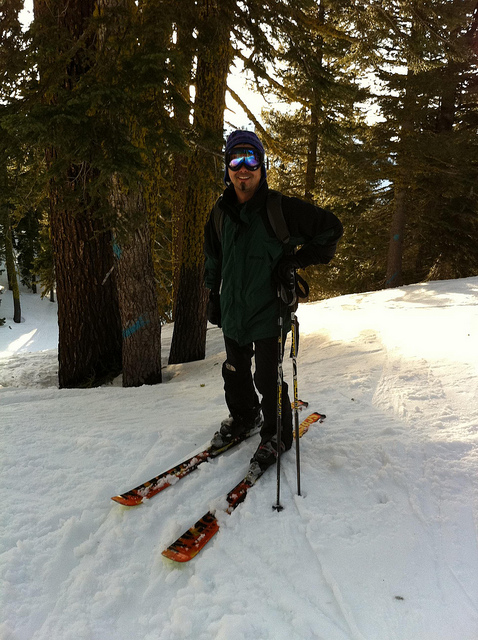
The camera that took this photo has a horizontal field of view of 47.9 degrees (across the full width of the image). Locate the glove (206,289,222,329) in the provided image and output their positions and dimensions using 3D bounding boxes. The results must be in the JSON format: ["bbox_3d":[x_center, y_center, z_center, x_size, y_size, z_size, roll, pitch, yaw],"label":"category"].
[{"bbox_3d":[-0.181,-0.081,3.944,0.108,0.276,0.292,-8,9,-2],"label":"glove"}]

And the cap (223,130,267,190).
[{"bbox_3d":[0.036,-1.071,3.634,0.357,0.477,0.490,0,12,4],"label":"cap"}]

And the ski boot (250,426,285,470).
[{"bbox_3d":[0.205,0.859,3.632,0.187,0.139,0.344,32,36,19],"label":"ski boot"}]

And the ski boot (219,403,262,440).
[{"bbox_3d":[0.061,0.782,3.994,0.151,0.220,0.467,3,14,44],"label":"ski boot"}]
